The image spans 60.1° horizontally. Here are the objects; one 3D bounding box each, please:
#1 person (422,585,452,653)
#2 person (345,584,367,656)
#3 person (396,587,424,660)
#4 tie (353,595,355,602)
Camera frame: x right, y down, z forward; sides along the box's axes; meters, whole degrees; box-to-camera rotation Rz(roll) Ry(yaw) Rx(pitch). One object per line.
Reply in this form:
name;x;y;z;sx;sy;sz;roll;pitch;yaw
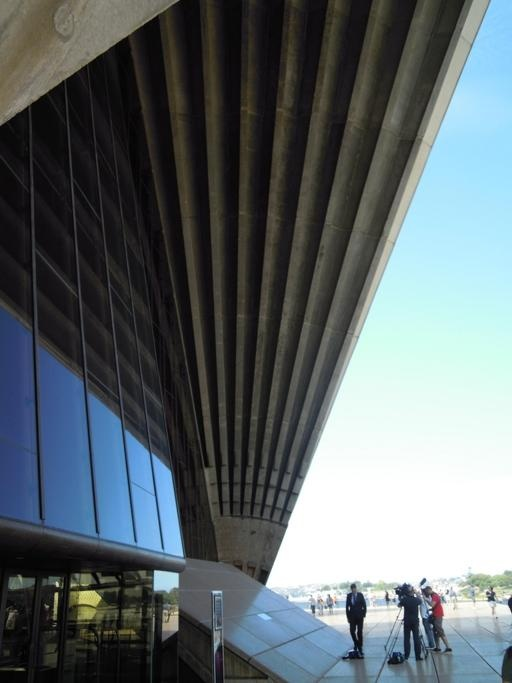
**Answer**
person;4.587;7.108;11.192;0.386;1.710;2.739;-9;-25;20
person;2.523;6.962;11.232;0.329;1.759;0.351;-8;13;-3
person;3.820;6.994;10.903;0.514;1.779;1.704;-8;-23;15
tie;2.440;6.457;11.047;0.095;0.132;0.043;-9;-20;14
